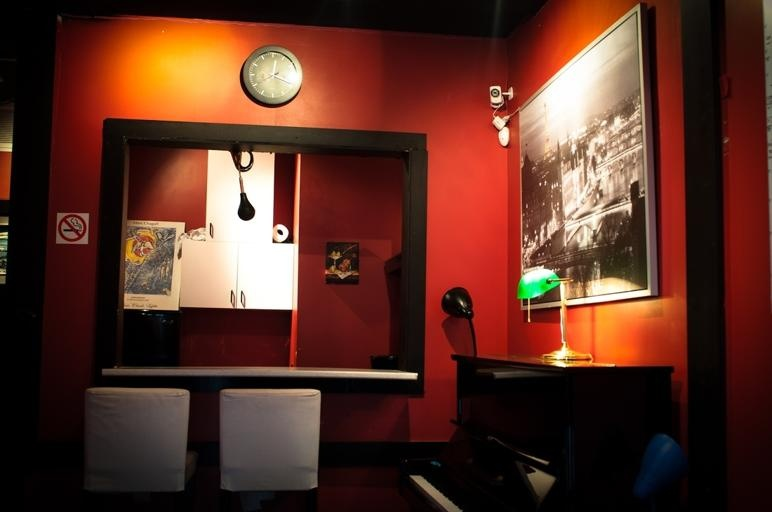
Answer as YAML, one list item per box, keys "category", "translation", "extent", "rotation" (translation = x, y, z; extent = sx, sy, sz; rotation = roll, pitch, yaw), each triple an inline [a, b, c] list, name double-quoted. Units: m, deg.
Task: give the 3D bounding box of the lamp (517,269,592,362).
- category: "lamp"
  translation: [1.070, 0.365, 4.072]
  extent: [0.419, 0.558, 0.785]
  rotation: [0, -2, 11]

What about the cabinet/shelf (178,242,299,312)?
- category: "cabinet/shelf"
  translation: [-1.450, 0.155, 6.339]
  extent: [1.150, 0.697, 0.413]
  rotation: [2, 14, -5]

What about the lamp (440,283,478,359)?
- category: "lamp"
  translation: [0.566, 0.520, 4.862]
  extent: [0.292, 0.537, 0.380]
  rotation: [0, -2, 8]
